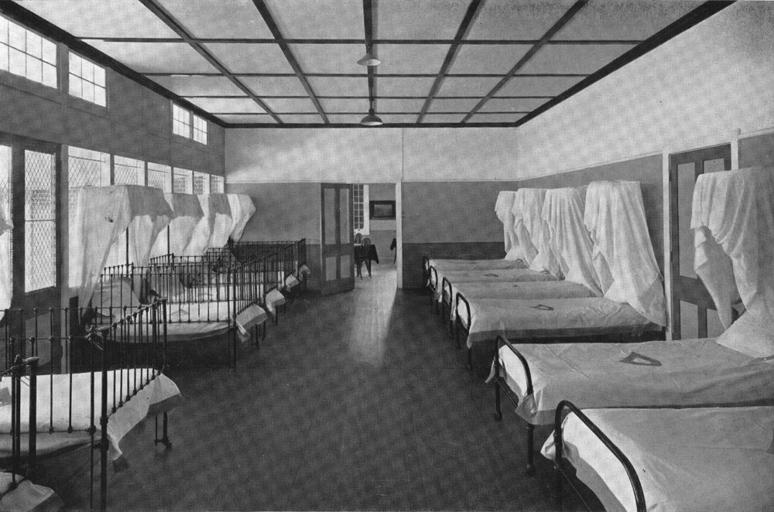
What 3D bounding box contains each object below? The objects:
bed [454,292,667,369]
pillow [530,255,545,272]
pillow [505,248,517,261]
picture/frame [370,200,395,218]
[{"bbox_3d":[2.278,0.895,8.729,1.955,0.554,1.295,0,3,-2],"label":"bed"},{"bbox_3d":[2.823,0.139,11.640,0.065,0.256,0.252,10,19,-8],"label":"pillow"},{"bbox_3d":[2.532,0.003,12.814,0.193,0.301,0.293,11,-6,-3],"label":"pillow"},{"bbox_3d":[-0.141,-1.406,21.058,0.965,0.688,0.533,1,5,4],"label":"picture/frame"}]
